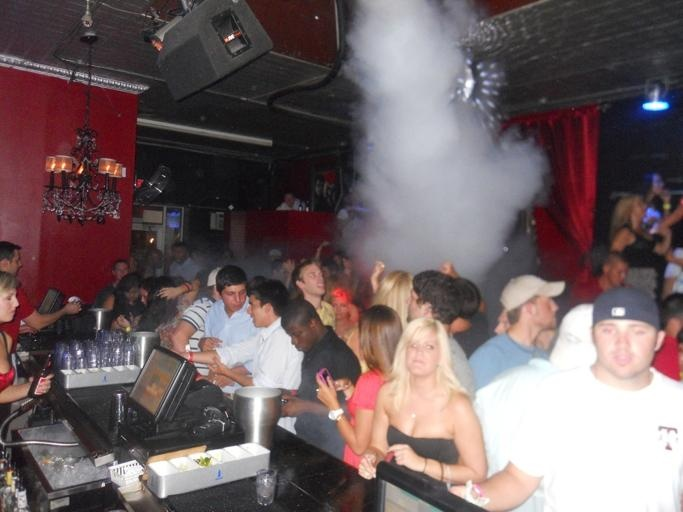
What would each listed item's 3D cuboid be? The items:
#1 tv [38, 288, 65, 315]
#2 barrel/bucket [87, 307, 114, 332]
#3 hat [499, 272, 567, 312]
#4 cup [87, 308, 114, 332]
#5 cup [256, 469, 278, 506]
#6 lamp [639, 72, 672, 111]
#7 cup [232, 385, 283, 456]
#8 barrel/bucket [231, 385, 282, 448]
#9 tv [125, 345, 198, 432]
[{"bbox_3d":[-2.720,0.439,5.044,0.069,0.187,0.196,30,-8,-39],"label":"tv"},{"bbox_3d":[-2.044,0.531,4.614,0.270,0.241,0.249,0,-4,0],"label":"barrel/bucket"},{"bbox_3d":[1.093,0.191,3.044,0.301,0.132,0.208,-17,4,4],"label":"hat"},{"bbox_3d":[-2.012,0.539,4.598,0.266,0.231,0.243,0,-5,0],"label":"cup"},{"bbox_3d":[-0.301,0.961,2.180,0.081,0.127,0.128,0,-5,4],"label":"cup"},{"bbox_3d":[3.074,-1.572,5.255,0.295,0.342,0.336,9,-14,19],"label":"lamp"},{"bbox_3d":[-0.336,0.776,2.494,0.248,0.292,0.257,0,-14,0],"label":"cup"},{"bbox_3d":[-0.365,0.761,2.493,0.248,0.291,0.257,0,-16,0],"label":"barrel/bucket"},{"bbox_3d":[-0.863,0.666,2.592,0.154,0.274,0.277,16,6,-35],"label":"tv"}]
